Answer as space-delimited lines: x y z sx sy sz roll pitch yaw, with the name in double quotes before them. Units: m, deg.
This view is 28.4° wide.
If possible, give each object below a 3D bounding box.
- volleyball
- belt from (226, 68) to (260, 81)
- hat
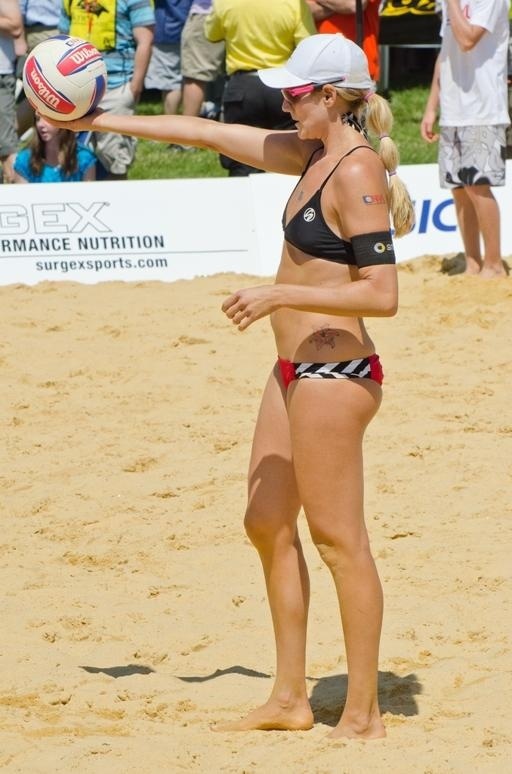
"volleyball" -0.643 -1.057 3.455 0.325 0.320 0.288 -3 41 -11
"belt" -0.092 -2.314 7.444 0.169 0.082 0.201 0 4 8
"hat" 0.161 -0.851 2.644 0.304 0.147 0.193 2 17 0
